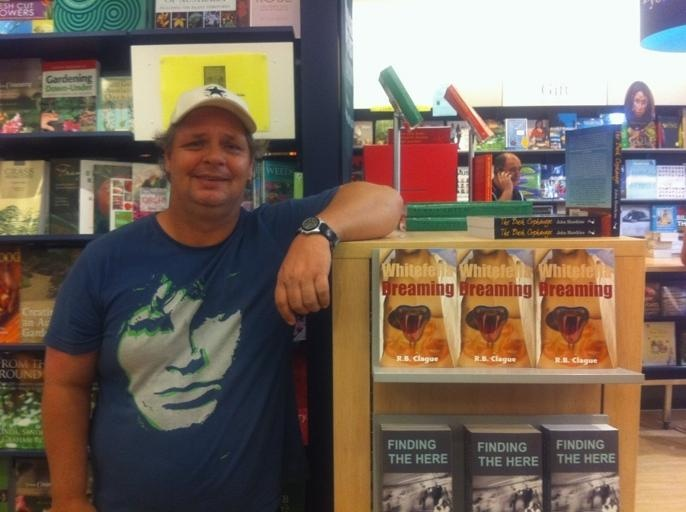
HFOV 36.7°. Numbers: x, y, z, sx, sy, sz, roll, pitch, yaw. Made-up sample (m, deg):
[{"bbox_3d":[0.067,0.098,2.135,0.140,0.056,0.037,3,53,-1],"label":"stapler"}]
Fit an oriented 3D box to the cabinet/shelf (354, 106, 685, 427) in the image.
[{"bbox_3d":[0.911,0.087,5.564,1.648,1.623,1.073,0,4,6],"label":"cabinet/shelf"}]
